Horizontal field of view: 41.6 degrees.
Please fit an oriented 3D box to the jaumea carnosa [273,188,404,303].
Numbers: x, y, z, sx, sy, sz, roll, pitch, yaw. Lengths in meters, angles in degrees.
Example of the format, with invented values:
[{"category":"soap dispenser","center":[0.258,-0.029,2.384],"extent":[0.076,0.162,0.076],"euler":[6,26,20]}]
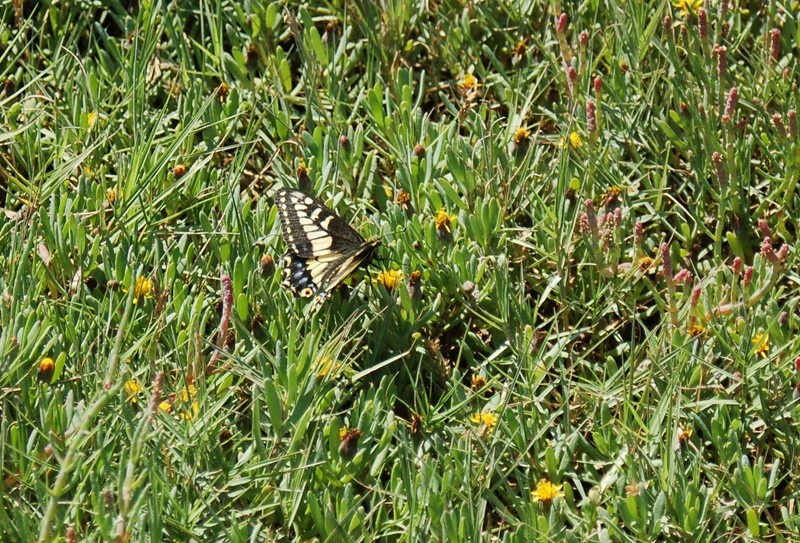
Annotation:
[{"category":"jaumea carnosa","center":[-0.252,-0.025,4.004],"extent":[0.359,0.305,0.442],"euler":[-23,32,-23]}]
